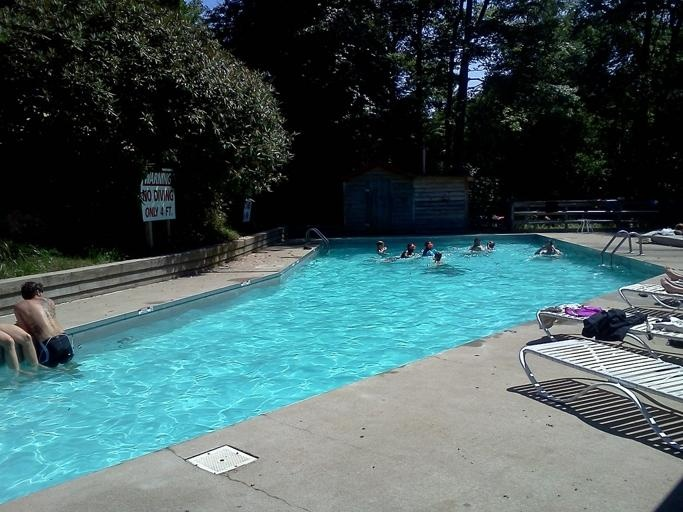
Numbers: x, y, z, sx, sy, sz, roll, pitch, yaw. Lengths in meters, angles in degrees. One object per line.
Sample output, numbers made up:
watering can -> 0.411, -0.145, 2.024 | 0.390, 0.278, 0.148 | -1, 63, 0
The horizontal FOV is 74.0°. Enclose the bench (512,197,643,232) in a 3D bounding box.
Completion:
bench -> 12.027, -2.079, 24.460 | 5.350, 1.001, 0.765 | 1, 3, 20

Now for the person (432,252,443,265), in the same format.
person -> 3.488, 0.032, 16.383 | 0.310, 0.421, 0.740 | 0, 9, 8

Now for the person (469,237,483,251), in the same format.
person -> 5.537, -0.494, 18.532 | 0.498, 0.540, 0.804 | 4, 11, 28
